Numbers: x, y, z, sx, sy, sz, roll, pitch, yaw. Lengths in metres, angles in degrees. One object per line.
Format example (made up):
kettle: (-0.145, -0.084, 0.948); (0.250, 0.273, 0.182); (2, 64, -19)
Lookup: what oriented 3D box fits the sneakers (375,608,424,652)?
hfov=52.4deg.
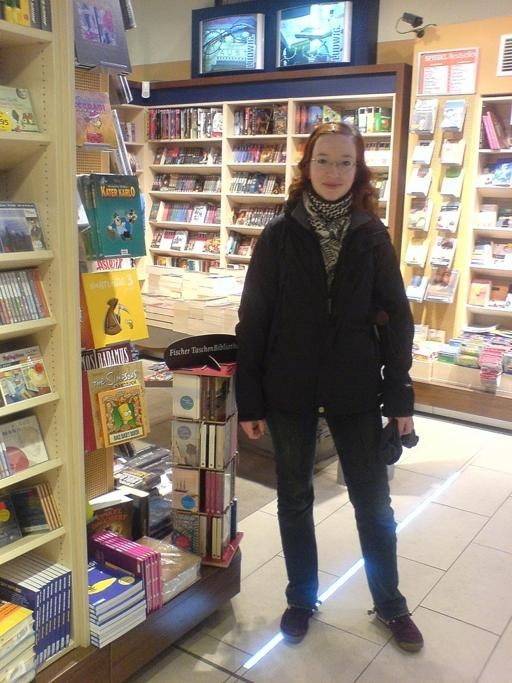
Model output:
sneakers: (0.514, 1.016, 1.854); (0.072, 0.075, 0.192); (1, -3, -24)

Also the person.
person: (0.266, 0.186, 1.759); (0.667, 1.779, 0.243); (0, 8, -2)
